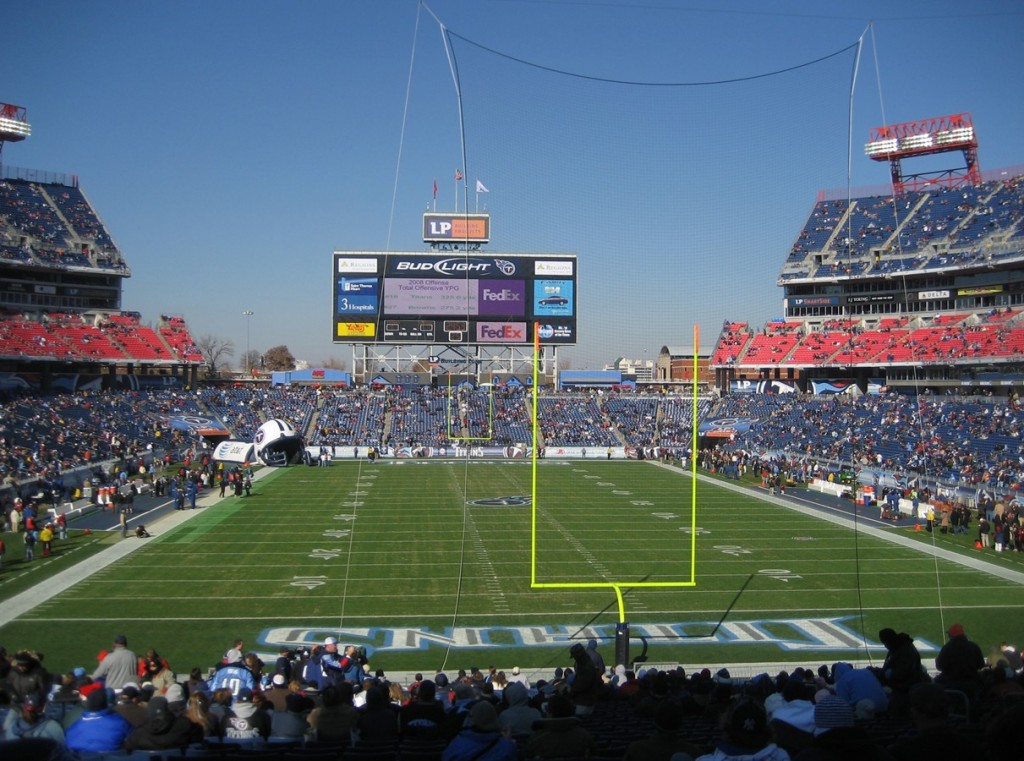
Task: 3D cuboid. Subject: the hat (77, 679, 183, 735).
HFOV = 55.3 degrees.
[{"bbox_3d":[-3.250,2.909,8.479,0.804,0.300,0.555,2,-4,29],"label":"hat"}]
